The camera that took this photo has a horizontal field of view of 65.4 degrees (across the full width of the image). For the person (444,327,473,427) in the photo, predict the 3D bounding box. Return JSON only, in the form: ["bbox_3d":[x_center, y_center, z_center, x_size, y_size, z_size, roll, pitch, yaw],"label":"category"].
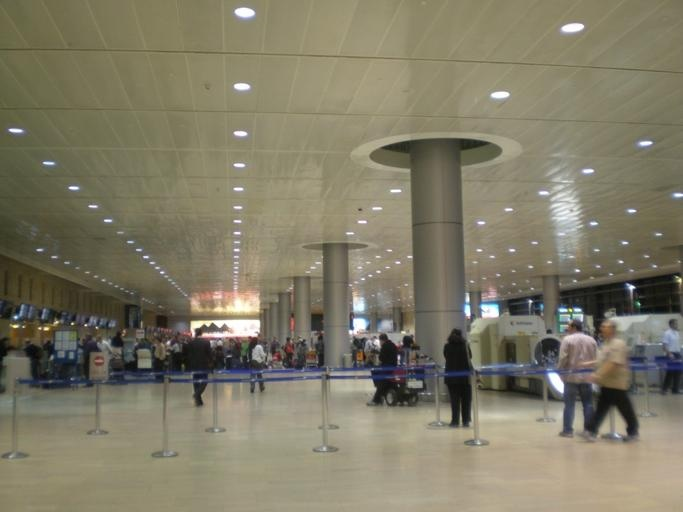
[{"bbox_3d":[2.373,2.414,10.659,0.543,1.941,1.118,-4,-11,10],"label":"person"}]

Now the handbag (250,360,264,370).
[{"bbox_3d":[-2.926,3.851,18.905,0.443,0.321,0.765,0,-11,-12],"label":"handbag"}]

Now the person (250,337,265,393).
[{"bbox_3d":[-2.910,3.752,18.808,0.474,1.467,0.485,1,3,5],"label":"person"}]

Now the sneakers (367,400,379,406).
[{"bbox_3d":[0.896,3.991,14.488,0.125,0.155,0.378,-7,-16,29],"label":"sneakers"}]
